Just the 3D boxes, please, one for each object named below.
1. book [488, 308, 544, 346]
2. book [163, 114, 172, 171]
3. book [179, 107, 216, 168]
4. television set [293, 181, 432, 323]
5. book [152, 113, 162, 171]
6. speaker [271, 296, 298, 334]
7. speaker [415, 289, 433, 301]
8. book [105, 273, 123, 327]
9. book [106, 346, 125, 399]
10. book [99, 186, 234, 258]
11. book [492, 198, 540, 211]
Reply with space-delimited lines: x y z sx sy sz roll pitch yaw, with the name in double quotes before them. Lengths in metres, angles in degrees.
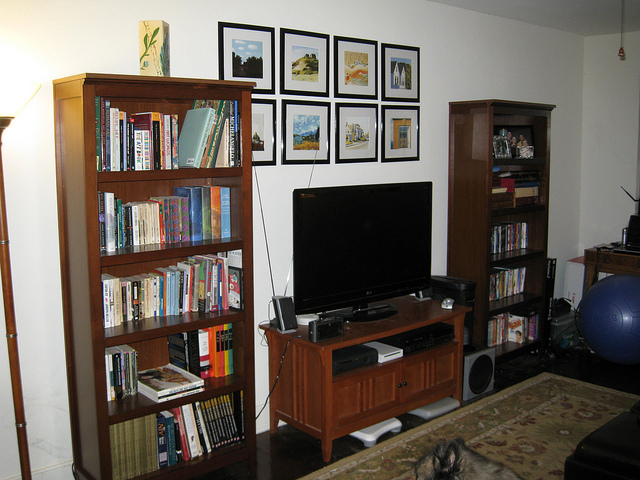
"book" 1.803 0.819 4.940 0.373 0.340 0.205 -3 8 -14
"book" -0.853 -0.546 2.986 0.043 0.306 0.102 -4 9 -16
"book" -0.754 -0.602 3.150 0.246 0.337 0.162 8 13 44
"television set" 0.268 0.081 3.825 0.905 0.685 0.234 -8 14 -33
"book" -0.915 -0.545 2.968 0.033 0.355 0.259 -5 13 -23
"speaker" -0.247 0.525 3.632 0.137 0.238 0.126 -1 -16 -44
"speaker" 0.837 0.436 4.317 0.137 0.127 0.077 -9 20 -19
"book" -1.142 0.345 2.935 0.129 0.227 0.232 -3 10 -28
"book" -1.144 0.752 3.002 0.062 0.275 0.100 -5 10 -24
"book" -0.871 -0.133 3.083 0.800 0.332 0.148 -9 12 -39
"book" 1.769 -0.325 4.816 0.257 0.060 0.240 -9 11 -32
